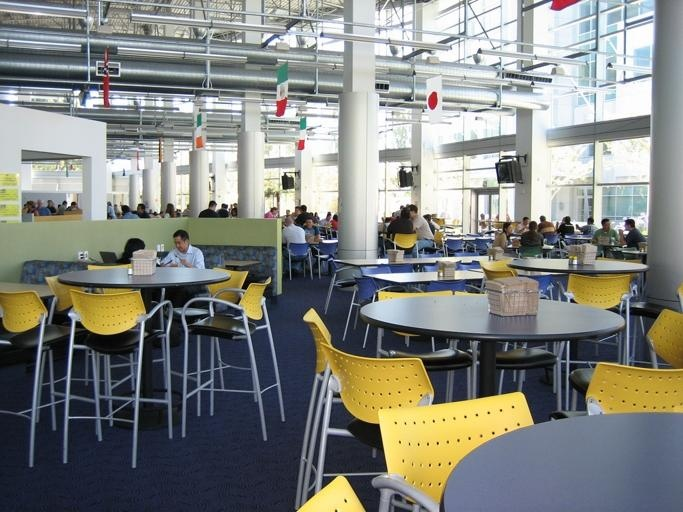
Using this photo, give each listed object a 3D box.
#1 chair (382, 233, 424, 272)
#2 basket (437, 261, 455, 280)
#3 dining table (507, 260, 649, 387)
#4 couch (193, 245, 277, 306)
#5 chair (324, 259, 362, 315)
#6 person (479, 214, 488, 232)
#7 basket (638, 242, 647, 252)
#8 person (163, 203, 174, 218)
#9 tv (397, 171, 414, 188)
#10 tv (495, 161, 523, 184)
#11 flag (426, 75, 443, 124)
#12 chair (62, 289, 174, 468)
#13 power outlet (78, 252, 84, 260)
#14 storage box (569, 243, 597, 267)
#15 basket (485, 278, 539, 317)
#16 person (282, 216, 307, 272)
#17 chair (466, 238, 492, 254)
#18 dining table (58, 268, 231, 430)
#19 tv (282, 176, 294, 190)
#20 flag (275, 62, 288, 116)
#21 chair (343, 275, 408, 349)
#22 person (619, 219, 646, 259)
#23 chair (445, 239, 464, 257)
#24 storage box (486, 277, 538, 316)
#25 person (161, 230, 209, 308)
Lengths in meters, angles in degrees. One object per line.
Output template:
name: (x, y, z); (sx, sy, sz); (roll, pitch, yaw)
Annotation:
chair: (0.976, -0.029, 10.412); (0.604, 1.007, 0.693); (-2, 13, -9)
basket: (1.078, 0.144, 6.140); (0.138, 0.181, 0.248); (-3, 8, -22)
dining table: (2.441, 0.595, 6.096); (1.088, 0.903, 1.170); (-4, 5, -30)
couch: (-1.588, 0.220, 9.317); (0.969, 0.993, 0.732); (0, 1, 7)
chair: (-0.007, 0.499, 9.810); (0.663, 0.830, 0.797); (0, 4, -2)
person: (5.136, -1.206, 21.708); (0.300, 0.628, 0.703); (1, 7, 9)
basket: (4.898, -0.144, 9.805); (0.148, 0.172, 0.164); (-5, 7, -25)
person: (-4.473, -1.178, 15.664); (0.157, 0.356, 1.323); (-3, 8, -18)
tv: (2.392, -2.922, 22.864); (0.568, 0.693, 0.537); (-2, 5, -25)
tv: (5.145, -2.550, 18.868); (0.684, 0.967, 0.779); (1, 1, -18)
flag: (1.558, -2.646, 10.175); (0.200, 0.800, 0.657); (0, 7, 5)
chair: (-1.824, 0.747, 4.986); (0.953, 1.158, 2.122); (-4, 8, -24)
power outlet: (-3.339, 0.009, 7.722); (0.082, 0.088, 0.022); (1, 1, -15)
storage box: (2.558, -0.036, 6.471); (0.204, 0.292, 0.283); (-6, 9, -30)
basket: (1.038, 0.225, 3.686); (0.242, 0.187, 0.250); (-2, 4, -11)
person: (-0.985, -0.220, 12.371); (0.477, 1.171, 0.923); (-1, 7, -6)
chair: (2.956, -0.228, 12.960); (0.307, 0.425, 0.303); (1, 13, 3)
dining table: (-1.579, 0.693, 5.039); (1.226, 1.256, 1.270); (0, 1, -1)
tv: (-2.324, -3.159, 26.024); (0.344, 0.653, 0.655); (0, 2, 28)
flag: (-1.052, -2.934, 10.497); (0.163, 0.924, 0.698); (-2, 7, -8)
chair: (0.346, 0.593, 7.402); (0.682, 1.216, 0.663); (-4, 6, -20)
person: (5.436, -0.245, 11.357); (0.458, 0.895, 0.440); (-4, 9, -31)
chair: (2.387, -0.179, 12.901); (0.260, 0.413, 0.302); (-1, 34, 4)
storage box: (1.044, 0.221, 3.674); (0.241, 0.191, 0.249); (-2, 4, -10)
person: (-1.825, 0.216, 6.749); (0.517, 0.989, 0.527); (4, 8, 15)
